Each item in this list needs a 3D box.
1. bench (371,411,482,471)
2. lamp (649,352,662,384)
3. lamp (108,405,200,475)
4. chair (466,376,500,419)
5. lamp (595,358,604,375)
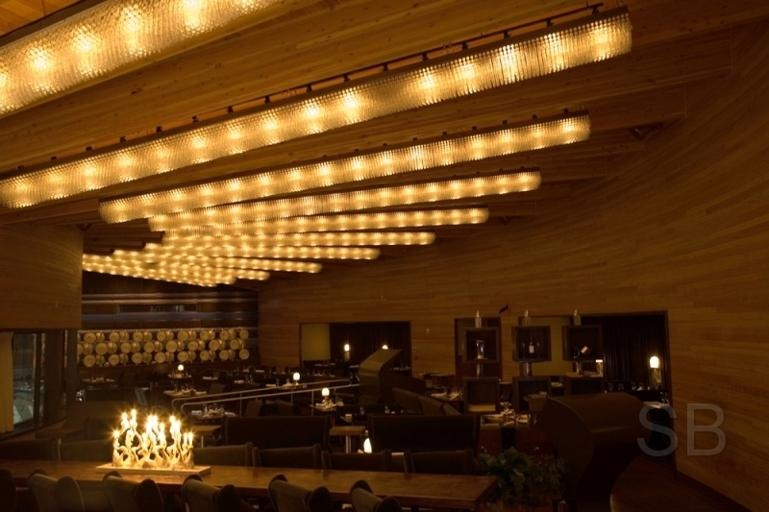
[{"bbox_3d":[0.464,2.568,8.912,1.462,0.947,0.762,-1,12,-4],"label":"bench"},{"bbox_3d":[5.933,2.477,13.476,0.283,0.673,1.300,-4,-10,23],"label":"lamp"},{"bbox_3d":[-2.695,2.225,7.237,0.904,0.508,0.319,1,4,-5],"label":"lamp"},{"bbox_3d":[1.696,2.351,10.278,0.635,0.581,0.459,-6,-18,24],"label":"chair"},{"bbox_3d":[3.457,1.780,9.887,0.094,0.254,0.700,-4,-10,21],"label":"lamp"}]
